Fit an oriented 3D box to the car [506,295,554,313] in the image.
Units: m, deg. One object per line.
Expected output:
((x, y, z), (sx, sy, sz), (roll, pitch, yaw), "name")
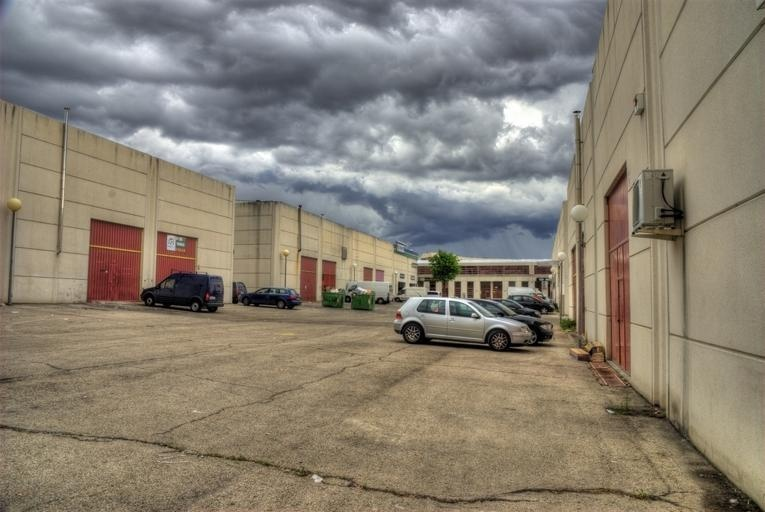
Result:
((11.058, 3.529, 37.347), (3.316, 1.265, 1.620), (0, 2, 3), "car")

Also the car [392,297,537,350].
((2.701, 2.224, 16.690), (4.160, 1.453, 1.831), (-2, -5, 19), "car")

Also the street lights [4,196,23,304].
((-16.475, -0.167, 22.419), (0.456, 4.614, 0.979), (1, 3, -36), "street lights")

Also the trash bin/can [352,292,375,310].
((-1.563, 3.483, 37.995), (1.528, 1.246, 1.733), (2, 1, -4), "trash bin/can")

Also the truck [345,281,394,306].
((-1.206, 3.569, 52.384), (3.824, 1.919, 2.358), (2, -6, -3), "truck")

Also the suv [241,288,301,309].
((-7.905, 3.016, 35.681), (3.559, 1.257, 1.681), (3, -4, 17), "suv")

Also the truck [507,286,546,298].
((15.187, 3.868, 53.439), (3.482, 1.904, 2.245), (-4, -1, 15), "truck")

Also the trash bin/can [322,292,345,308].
((-3.941, 3.490, 39.480), (1.828, 1.355, 1.080), (-4, -7, 41), "trash bin/can")

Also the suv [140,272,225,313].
((-10.542, 2.107, 27.149), (3.603, 1.698, 2.145), (4, -3, 16), "suv")

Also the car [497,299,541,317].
((6.711, 2.842, 25.404), (2.490, 0.879, 1.191), (-1, -3, 26), "car")

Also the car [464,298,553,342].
((4.824, 2.398, 19.202), (3.403, 1.201, 1.520), (-2, -4, 23), "car")

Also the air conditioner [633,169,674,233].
((4.553, -0.883, 8.428), (0.514, 0.955, 1.015), (1, -9, 12), "air conditioner")

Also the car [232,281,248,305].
((-10.783, 2.805, 37.588), (1.063, 1.082, 1.900), (0, 2, 1), "car")

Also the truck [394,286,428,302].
((2.970, 4.471, 54.002), (3.617, 1.679, 2.010), (1, -1, 32), "truck")
